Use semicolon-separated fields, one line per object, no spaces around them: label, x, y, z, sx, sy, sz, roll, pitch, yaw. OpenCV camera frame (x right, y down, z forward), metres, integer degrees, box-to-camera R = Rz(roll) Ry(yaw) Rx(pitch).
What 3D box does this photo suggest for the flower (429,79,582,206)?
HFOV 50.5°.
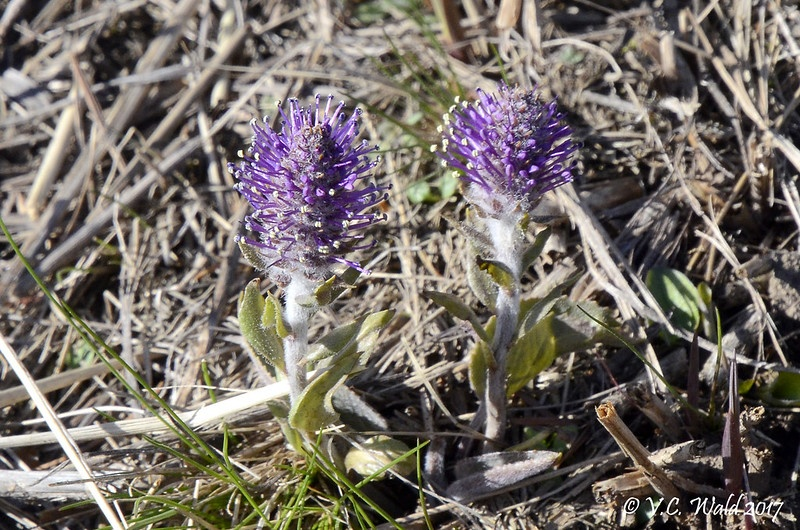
flower;0.577;-0.648;4.562;0.712;0.559;0.512;-13;44;13
